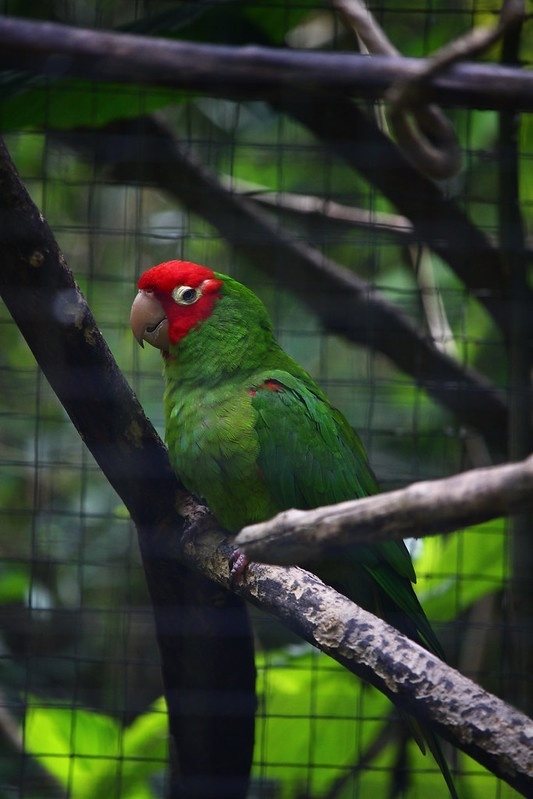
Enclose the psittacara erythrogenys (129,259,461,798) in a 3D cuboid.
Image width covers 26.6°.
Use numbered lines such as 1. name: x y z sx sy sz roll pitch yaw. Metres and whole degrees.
1. psittacara erythrogenys: 0.017 0.208 2.108 0.312 0.953 0.698 -25 -51 18
